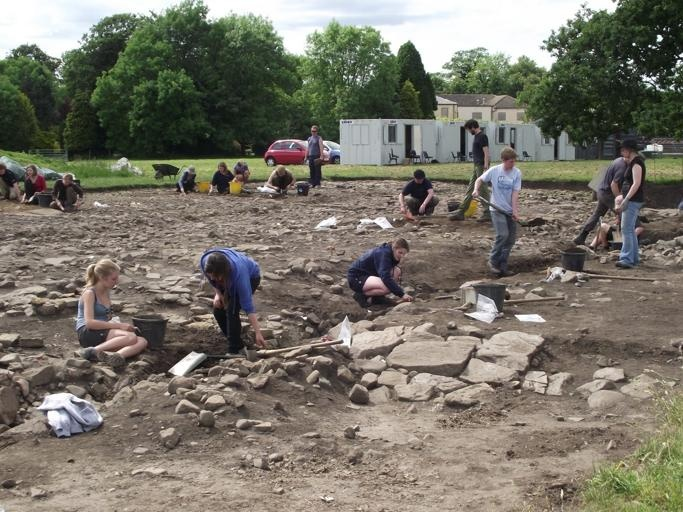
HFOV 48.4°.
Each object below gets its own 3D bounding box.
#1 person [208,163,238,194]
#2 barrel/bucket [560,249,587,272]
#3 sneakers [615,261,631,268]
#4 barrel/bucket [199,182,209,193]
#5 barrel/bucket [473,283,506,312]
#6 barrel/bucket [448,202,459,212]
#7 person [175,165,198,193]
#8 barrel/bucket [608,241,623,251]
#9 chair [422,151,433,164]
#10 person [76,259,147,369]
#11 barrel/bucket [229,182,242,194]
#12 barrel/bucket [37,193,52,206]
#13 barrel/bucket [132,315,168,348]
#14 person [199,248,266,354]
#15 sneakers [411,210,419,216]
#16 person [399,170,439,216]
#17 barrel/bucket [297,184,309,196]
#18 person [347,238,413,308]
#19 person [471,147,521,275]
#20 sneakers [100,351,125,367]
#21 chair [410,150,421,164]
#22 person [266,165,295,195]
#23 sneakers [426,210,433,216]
[{"bbox_3d":[-3.285,-2.143,20.764,0.641,0.831,1.007,-2,7,-7],"label":"person"},{"bbox_3d":[3.414,0.060,11.193,0.396,0.252,0.362,1,-2,0],"label":"barrel/bucket"},{"bbox_3d":[4.206,0.134,11.352,0.235,0.075,0.086,3,5,3],"label":"sneakers"},{"bbox_3d":[-3.838,-1.909,20.968,0.404,0.273,0.299,1,8,11],"label":"barrel/bucket"},{"bbox_3d":[1.941,0.526,9.885,0.442,0.254,0.383,-1,-5,4],"label":"barrel/bucket"},{"bbox_3d":[2.291,-1.004,15.561,0.240,0.134,0.204,0,1,3],"label":"barrel/bucket"},{"bbox_3d":[-4.304,-2.127,21.060,0.514,0.742,1.155,-2,7,-12],"label":"person"},{"bbox_3d":[4.513,-0.161,12.498,0.177,0.095,0.153,1,7,15],"label":"barrel/bucket"},{"bbox_3d":[4.039,-4.718,36.152,0.371,0.537,1.079,2,7,17],"label":"chair"},{"bbox_3d":[-2.561,0.605,8.530,0.904,0.940,1.205,3,6,-2],"label":"person"},{"bbox_3d":[-2.854,-1.822,20.188,0.362,0.220,0.355,2,2,0],"label":"barrel/bucket"},{"bbox_3d":[-6.760,-1.284,17.282,0.365,0.178,0.330,1,1,-27],"label":"barrel/bucket"},{"bbox_3d":[-2.160,0.859,8.683,0.454,0.257,0.394,1,0,4],"label":"barrel/bucket"},{"bbox_3d":[-1.222,0.500,8.603,0.668,1.208,0.918,-2,8,-7],"label":"person"},{"bbox_3d":[1.448,-0.862,15.105,0.139,0.051,0.167,1,6,0],"label":"sneakers"},{"bbox_3d":[1.511,-1.225,14.895,0.729,0.924,1.084,0,7,7],"label":"person"},{"bbox_3d":[-0.977,-1.698,19.205,0.297,0.320,0.326,-1,7,0],"label":"barrel/bucket"},{"bbox_3d":[0.518,0.231,10.325,0.443,0.964,0.878,-7,10,-38],"label":"person"},{"bbox_3d":[2.379,-0.666,11.467,0.639,1.938,0.689,-1,8,-3],"label":"person"},{"bbox_3d":[-2.438,1.095,8.094,0.234,0.071,0.158,14,19,25],"label":"sneakers"},{"bbox_3d":[3.501,-4.682,35.613,0.453,0.665,1.059,0,7,4],"label":"chair"},{"bbox_3d":[-1.572,-1.967,19.586,0.701,0.750,0.799,-1,7,-4],"label":"person"},{"bbox_3d":[1.759,-0.867,15.291,0.097,0.093,0.125,-5,-20,44],"label":"sneakers"}]
